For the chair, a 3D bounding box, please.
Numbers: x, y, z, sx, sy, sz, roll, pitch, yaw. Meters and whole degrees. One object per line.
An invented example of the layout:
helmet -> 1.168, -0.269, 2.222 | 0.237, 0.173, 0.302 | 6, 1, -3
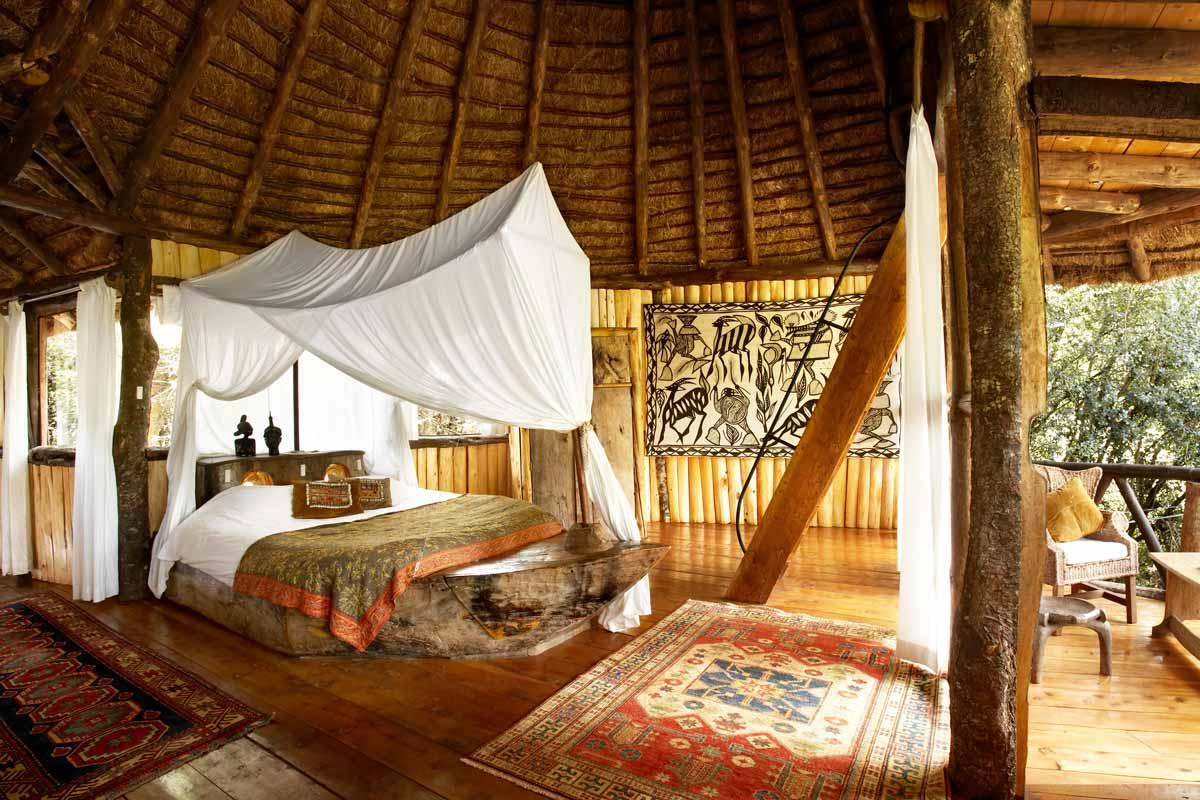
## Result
chair -> 3.673, 1.106, 5.728 | 0.835, 1.028, 0.842 | -3, 4, 32

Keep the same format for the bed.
bed -> -1.927, 1.268, 5.547 | 1.997, 0.654, 1.494 | 3, 1, 31

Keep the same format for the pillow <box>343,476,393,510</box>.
pillow -> -2.022, 0.818, 6.520 | 0.284, 0.229, 0.297 | -1, -4, -11
